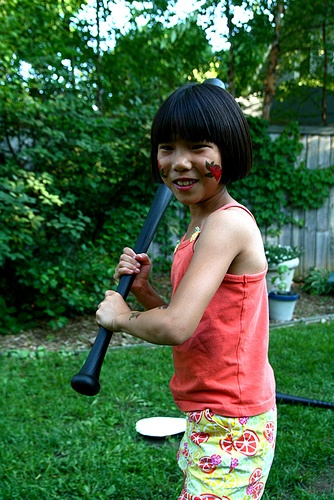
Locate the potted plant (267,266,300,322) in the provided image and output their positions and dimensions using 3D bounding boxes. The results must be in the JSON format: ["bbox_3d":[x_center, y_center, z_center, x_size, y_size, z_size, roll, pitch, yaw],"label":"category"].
[{"bbox_3d":[1.145,0.414,4.781,0.332,0.480,0.327,8,10,31],"label":"potted plant"}]
